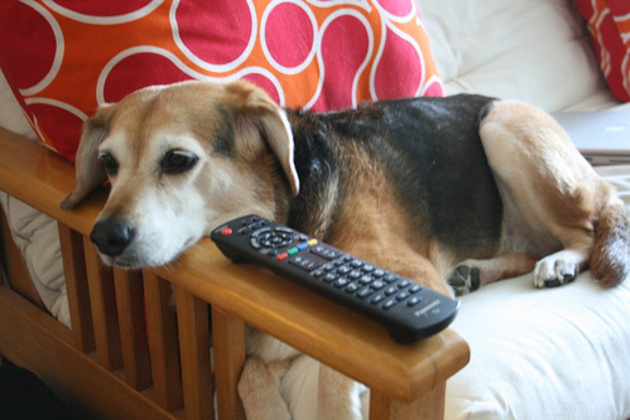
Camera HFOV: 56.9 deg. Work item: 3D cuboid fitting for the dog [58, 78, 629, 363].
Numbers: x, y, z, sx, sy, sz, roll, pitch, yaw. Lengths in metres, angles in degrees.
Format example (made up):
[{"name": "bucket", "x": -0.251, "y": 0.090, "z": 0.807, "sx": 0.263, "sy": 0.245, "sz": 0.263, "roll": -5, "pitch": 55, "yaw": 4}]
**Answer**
[{"name": "dog", "x": 0.097, "y": -0.055, "z": 1.491, "sx": 1.208, "sy": 0.585, "sz": 0.687, "roll": -21, "pitch": -3, "yaw": -28}]
